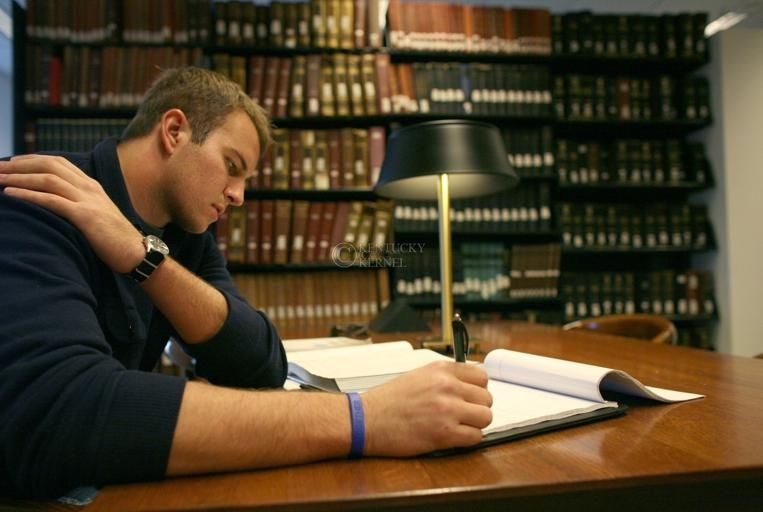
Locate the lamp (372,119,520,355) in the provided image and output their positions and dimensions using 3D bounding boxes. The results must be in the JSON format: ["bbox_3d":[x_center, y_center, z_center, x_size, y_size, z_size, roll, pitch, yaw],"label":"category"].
[{"bbox_3d":[0.084,-0.105,3.689,0.926,1.359,0.881,-1,0,-8],"label":"lamp"}]

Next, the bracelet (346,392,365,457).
[{"bbox_3d":[-0.078,0.535,2.293,0.037,0.147,0.107,3,-7,-12],"label":"bracelet"}]
